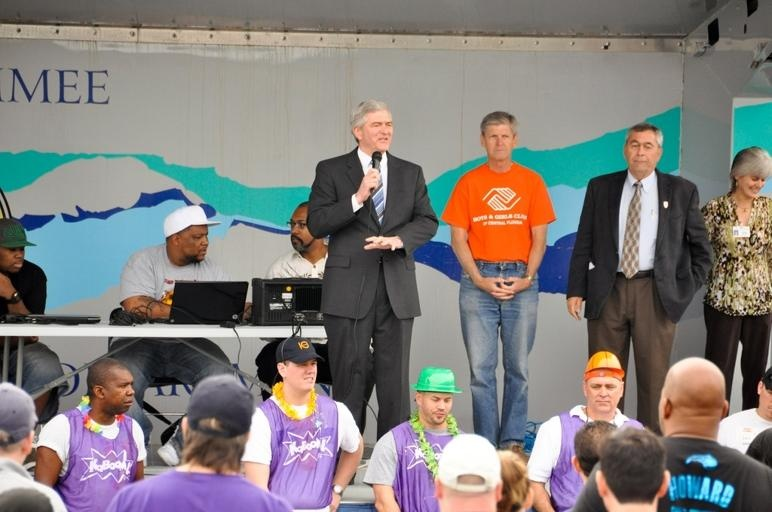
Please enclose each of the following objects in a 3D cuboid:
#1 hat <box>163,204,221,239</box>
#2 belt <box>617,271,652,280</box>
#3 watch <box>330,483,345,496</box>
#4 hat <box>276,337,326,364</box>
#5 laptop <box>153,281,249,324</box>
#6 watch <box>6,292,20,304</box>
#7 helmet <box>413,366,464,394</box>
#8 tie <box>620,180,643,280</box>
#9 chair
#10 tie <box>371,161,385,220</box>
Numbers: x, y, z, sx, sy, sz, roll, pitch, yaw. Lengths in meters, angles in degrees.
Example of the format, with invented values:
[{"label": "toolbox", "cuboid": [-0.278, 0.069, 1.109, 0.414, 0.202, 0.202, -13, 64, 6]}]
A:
[{"label": "hat", "cuboid": [-1.634, -0.223, 11.103, 0.366, 0.197, 0.274, -21, 5, 13]}, {"label": "belt", "cuboid": [1.962, 0.164, 10.619, 0.271, 0.074, 0.058, 1, -4, 4]}, {"label": "watch", "cuboid": [-0.348, 1.721, 9.827, 0.064, 0.073, 0.039, 4, -35, 4]}, {"label": "hat", "cuboid": [-0.625, 0.705, 9.740, 0.241, 0.124, 0.182, -8, -9, 30]}, {"label": "laptop", "cuboid": [-1.375, 0.380, 10.541, 0.494, 0.330, 0.363, 0, 8, -9]}, {"label": "watch", "cuboid": [-2.980, 0.353, 10.859, 0.089, 0.067, 0.102, -19, 10, 27]}, {"label": "helmet", "cuboid": [0.393, 0.977, 10.490, 0.310, 0.141, 0.385, 3, -9, -9]}, {"label": "tie", "cuboid": [1.943, -0.193, 10.650, 0.149, 0.766, 0.073, 0, -4, 18]}, {"label": "chair", "cuboid": [-1.831, 0.878, 11.150, 0.704, 0.855, 0.962, 0, 1, -8]}, {"label": "tie", "cuboid": [-0.044, -0.475, 10.021, 0.080, 0.453, 0.066, -1, -3, 1]}]
